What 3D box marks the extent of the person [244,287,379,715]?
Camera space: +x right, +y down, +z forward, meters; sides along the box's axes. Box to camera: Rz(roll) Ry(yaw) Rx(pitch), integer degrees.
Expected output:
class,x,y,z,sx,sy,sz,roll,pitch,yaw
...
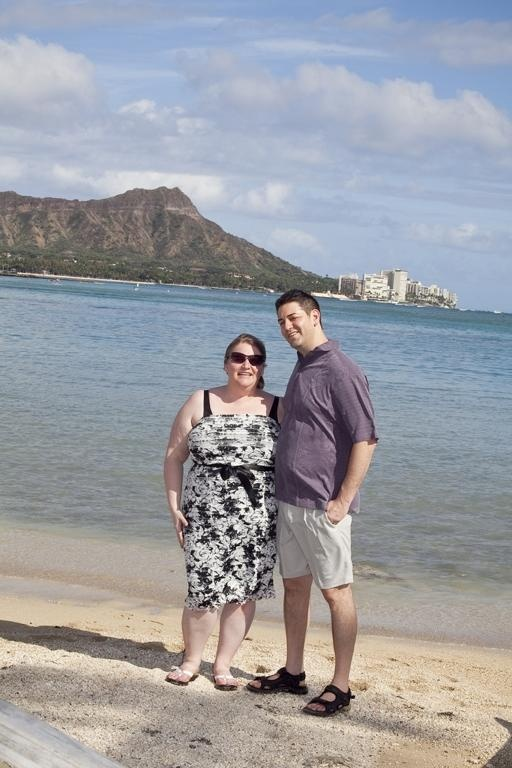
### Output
class,x,y,z,sx,sy,sz,roll,pitch,yaw
person,0.265,0.533,3.464,0.425,1.872,0.626,1,10,-27

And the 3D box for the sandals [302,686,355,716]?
class,x,y,z,sx,sy,sz,roll,pitch,yaw
sandals,0.316,1.385,3.405,0.205,0.076,0.098,8,-9,-43

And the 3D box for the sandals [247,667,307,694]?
class,x,y,z,sx,sy,sz,roll,pitch,yaw
sandals,0.092,1.376,3.610,0.267,0.103,0.110,4,-7,-4
